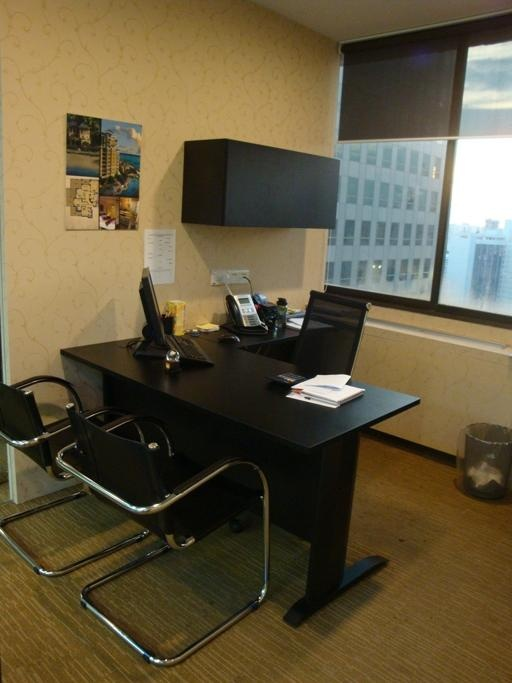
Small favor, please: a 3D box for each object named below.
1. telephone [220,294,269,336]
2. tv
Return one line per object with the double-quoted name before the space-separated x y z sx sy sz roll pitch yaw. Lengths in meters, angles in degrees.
"telephone" -0.076 -0.162 3.245 0.203 0.204 0.291 -9 15 -38
"tv" -0.543 -0.140 2.696 0.222 0.394 0.402 -4 24 -23
